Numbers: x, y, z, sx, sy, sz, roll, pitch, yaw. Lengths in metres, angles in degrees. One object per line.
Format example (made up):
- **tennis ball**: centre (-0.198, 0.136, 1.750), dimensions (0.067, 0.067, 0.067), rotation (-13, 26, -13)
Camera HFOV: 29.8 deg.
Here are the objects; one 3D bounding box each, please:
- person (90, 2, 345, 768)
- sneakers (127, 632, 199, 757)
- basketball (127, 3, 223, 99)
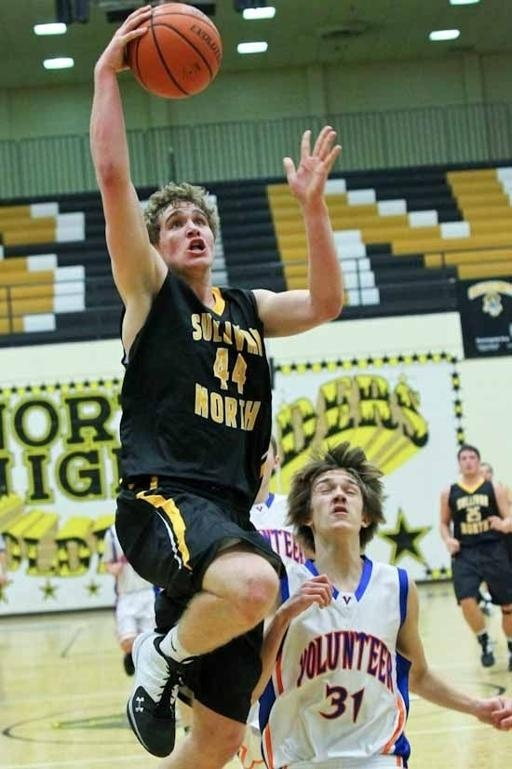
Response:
- **person**: centre (-0.100, -0.064, 2.806), dimensions (0.617, 2.153, 0.694), rotation (-6, -6, 29)
- **sneakers**: centre (-0.282, 0.839, 2.640), dimensions (0.200, 0.413, 0.146), rotation (-17, -23, 28)
- **basketball**: centre (-0.238, -0.983, 2.851), dimensions (0.310, 0.290, 0.309), rotation (0, 18, -15)
